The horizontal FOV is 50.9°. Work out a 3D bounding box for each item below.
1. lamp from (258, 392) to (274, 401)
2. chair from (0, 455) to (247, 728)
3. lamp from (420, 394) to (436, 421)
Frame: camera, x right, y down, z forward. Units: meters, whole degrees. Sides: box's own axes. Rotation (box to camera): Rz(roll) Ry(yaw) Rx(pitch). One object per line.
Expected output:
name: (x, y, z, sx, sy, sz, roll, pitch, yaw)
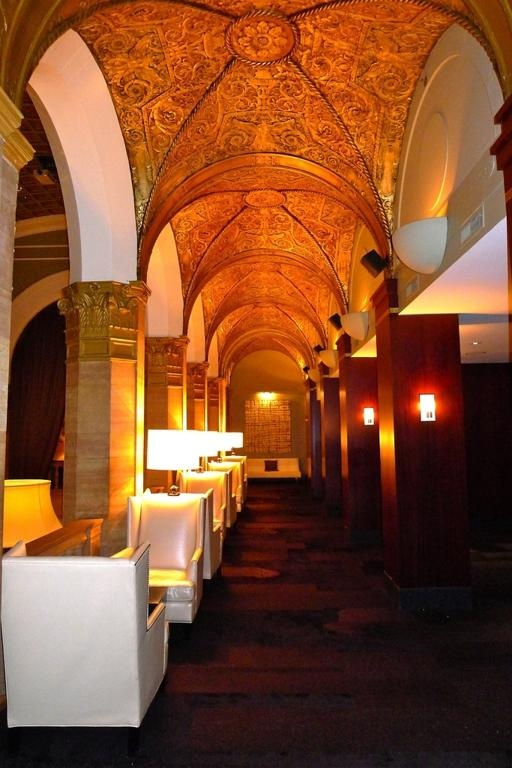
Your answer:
lamp: (0.403, 0.458, 20.221, 0.616, 0.315, 0.088, 0, -6, -1)
chair: (-0.525, 0.989, 2.509, 0.740, 1.028, 0.950, 0, -3, 4)
lamp: (1.497, 0.211, 4.701, 0.135, 0.243, 0.032, 1, -7, -7)
